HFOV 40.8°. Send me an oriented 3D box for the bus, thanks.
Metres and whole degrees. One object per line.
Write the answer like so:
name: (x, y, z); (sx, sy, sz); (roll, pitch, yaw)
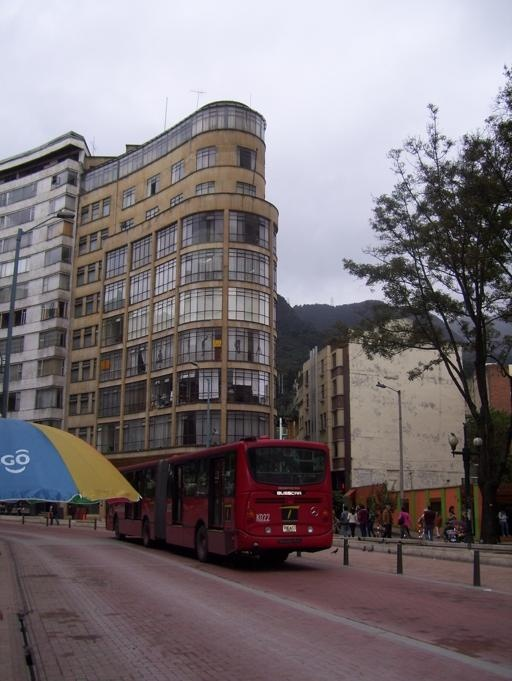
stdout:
bus: (-1.484, 5.265, 22.727); (3.576, 3.509, 13.847); (8, -16, -23)
